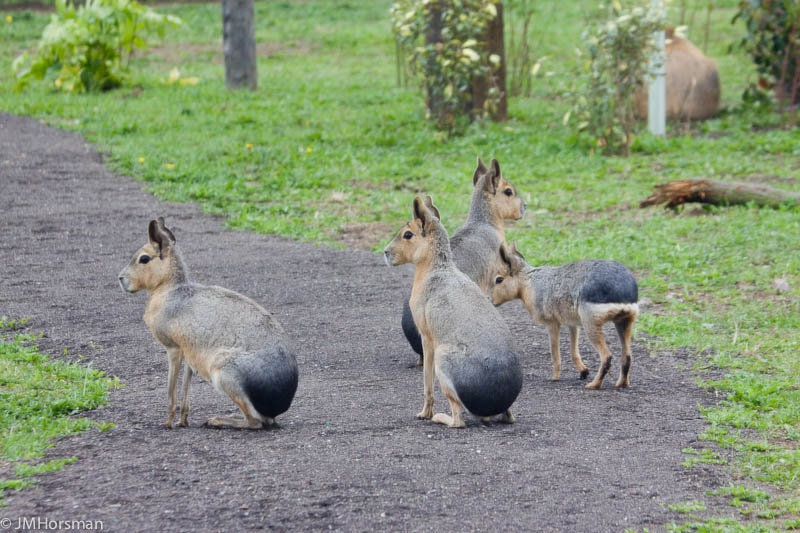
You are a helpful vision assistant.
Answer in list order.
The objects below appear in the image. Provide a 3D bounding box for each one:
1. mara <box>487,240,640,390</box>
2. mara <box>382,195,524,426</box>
[{"bbox_3d":[2.290,0.713,16.936,2.306,1.994,0.693,2,5,44],"label":"mara"},{"bbox_3d":[0.689,0.594,15.661,0.989,2.892,1.682,-8,12,-35],"label":"mara"}]
